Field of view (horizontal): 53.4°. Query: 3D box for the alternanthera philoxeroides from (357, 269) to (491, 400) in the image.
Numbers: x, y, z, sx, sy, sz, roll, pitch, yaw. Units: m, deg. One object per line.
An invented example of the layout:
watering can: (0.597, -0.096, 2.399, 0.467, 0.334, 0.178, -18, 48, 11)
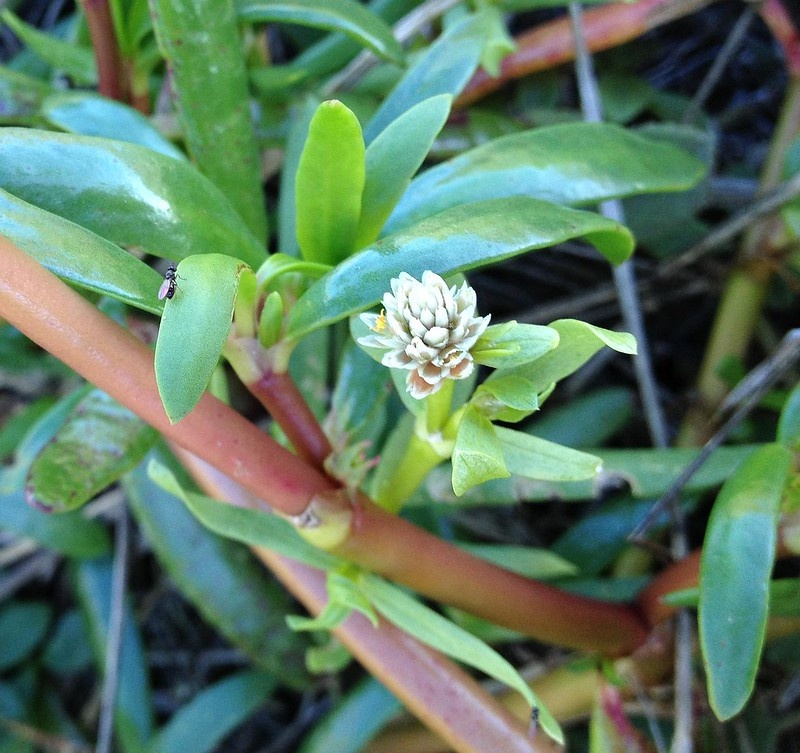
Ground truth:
alternanthera philoxeroides: (0.012, -0.031, 0.410, 0.058, 0.037, 0.063, -6, 2, -15)
